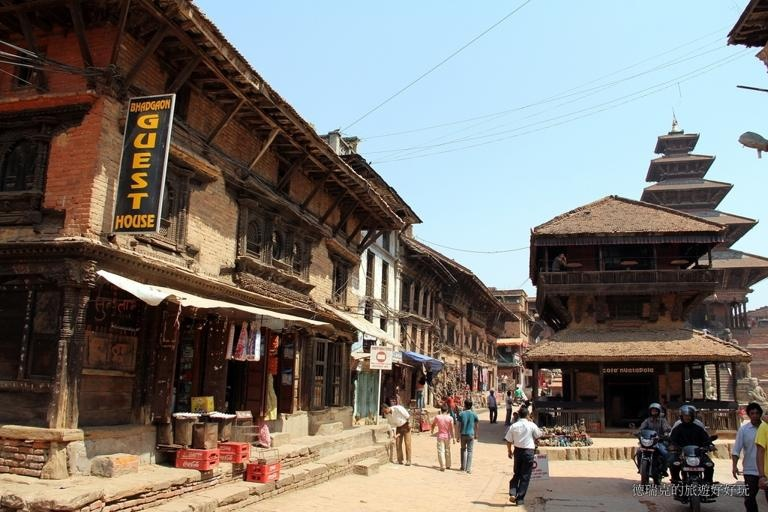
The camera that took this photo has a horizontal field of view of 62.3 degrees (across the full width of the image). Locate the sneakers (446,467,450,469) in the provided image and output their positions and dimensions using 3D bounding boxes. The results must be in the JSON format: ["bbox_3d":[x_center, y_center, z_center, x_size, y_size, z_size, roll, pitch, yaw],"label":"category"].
[{"bbox_3d":[2.086,6.838,20.599,0.145,0.075,0.089,0,-18,-1],"label":"sneakers"}]

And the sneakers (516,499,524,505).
[{"bbox_3d":[3.432,6.189,16.043,0.131,0.074,0.115,1,-5,-4],"label":"sneakers"}]

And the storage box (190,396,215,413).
[{"bbox_3d":[-4.840,3.917,16.965,0.817,0.432,0.387,0,-5,3],"label":"storage box"}]

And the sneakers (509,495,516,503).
[{"bbox_3d":[3.238,6.117,16.054,0.144,0.102,0.159,-3,-11,2],"label":"sneakers"}]

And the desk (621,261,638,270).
[{"bbox_3d":[12.279,0.334,31.937,0.855,0.427,1.360,-7,-15,20],"label":"desk"}]

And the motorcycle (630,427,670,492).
[{"bbox_3d":[6.805,5.107,16.208,0.564,1.410,1.436,-2,-16,1],"label":"motorcycle"}]

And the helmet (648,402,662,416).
[{"bbox_3d":[7.233,4.048,16.982,0.445,0.434,0.531,1,-18,19],"label":"helmet"}]
